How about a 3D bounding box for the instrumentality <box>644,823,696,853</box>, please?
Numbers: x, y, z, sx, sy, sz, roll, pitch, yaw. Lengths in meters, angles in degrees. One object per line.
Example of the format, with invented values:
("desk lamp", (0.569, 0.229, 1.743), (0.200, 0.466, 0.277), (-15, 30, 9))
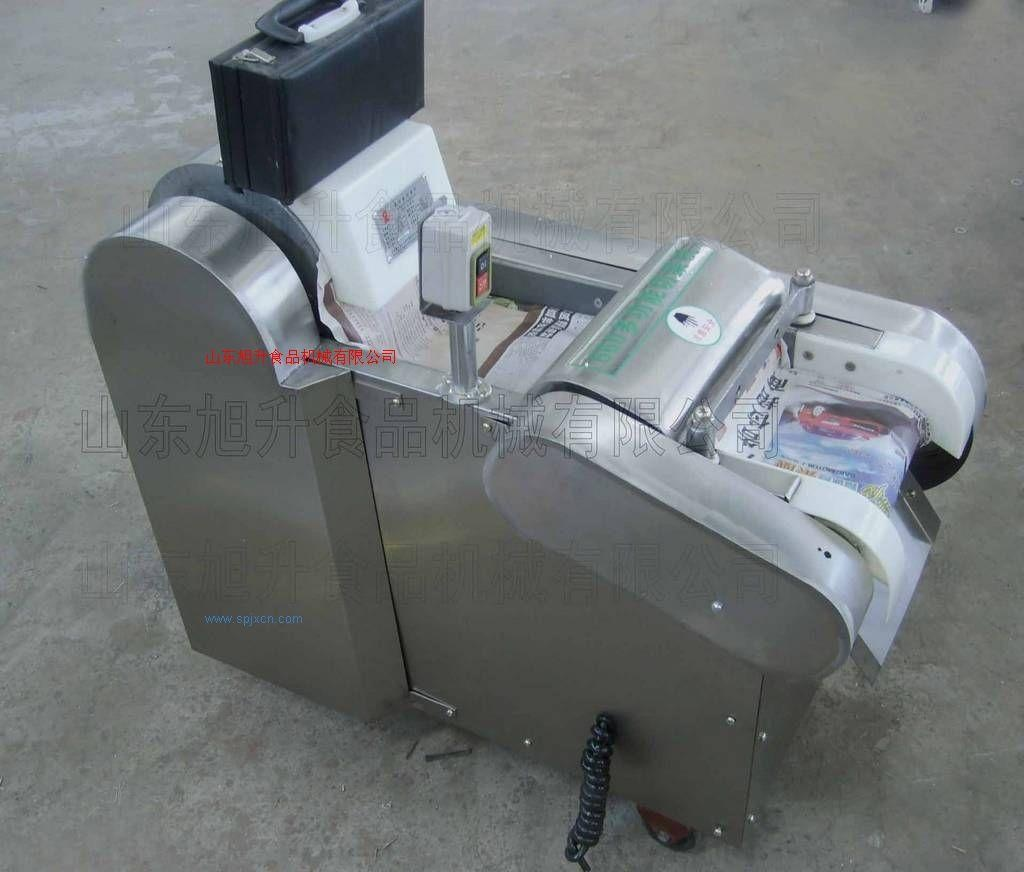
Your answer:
("instrumentality", (0.310, 0.783, 1.690), (0.065, 0.023, 0.052), (12, 46, 13))
